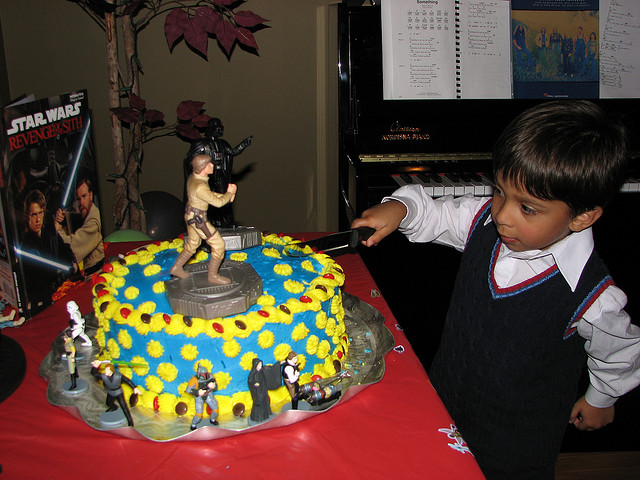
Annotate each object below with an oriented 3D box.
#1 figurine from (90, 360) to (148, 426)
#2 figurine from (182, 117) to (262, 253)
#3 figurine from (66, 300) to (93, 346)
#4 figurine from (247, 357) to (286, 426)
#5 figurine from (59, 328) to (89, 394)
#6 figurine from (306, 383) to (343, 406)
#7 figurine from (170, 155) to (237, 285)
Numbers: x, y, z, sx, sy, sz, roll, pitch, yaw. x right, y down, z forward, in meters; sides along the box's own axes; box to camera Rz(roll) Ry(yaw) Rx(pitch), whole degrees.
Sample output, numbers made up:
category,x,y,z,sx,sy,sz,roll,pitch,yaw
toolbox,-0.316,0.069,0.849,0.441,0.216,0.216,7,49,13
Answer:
category,x,y,z,sx,sy,sz,roll,pitch,yaw
figurine,-0.863,0.643,1.999,0.209,0.291,0.157,9,20,-1
figurine,-0.610,-0.334,2.970,0.454,0.811,0.392,3,8,14
figurine,-1.185,0.422,2.285,0.125,0.229,0.108,-6,13,-36
figurine,-0.233,0.648,2.031,0.200,0.289,0.071,-8,17,-17
figurine,-1.131,0.553,2.125,0.120,0.276,0.117,-6,11,-39
figurine,0.010,0.676,2.066,0.148,0.040,0.087,-11,38,-44
figurine,-0.549,-0.084,2.180,0.290,0.590,0.233,6,19,-1
